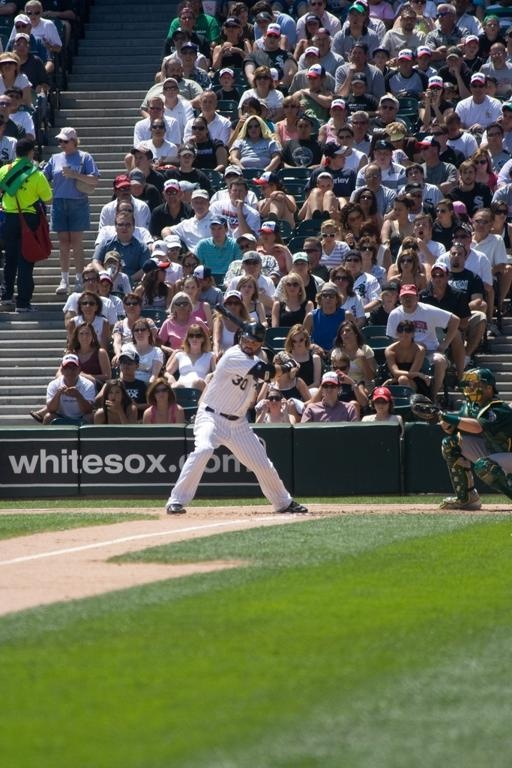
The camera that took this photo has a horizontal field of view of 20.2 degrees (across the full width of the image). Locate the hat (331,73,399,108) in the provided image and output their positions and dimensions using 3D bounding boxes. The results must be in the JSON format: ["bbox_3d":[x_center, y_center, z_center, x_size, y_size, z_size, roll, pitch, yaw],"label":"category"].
[{"bbox_3d":[1.368,-3.816,18.759,0.488,0.495,0.679,0,12,3],"label":"hat"}]

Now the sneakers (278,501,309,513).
[{"bbox_3d":[0.330,1.038,12.099,0.269,0.120,0.102,-3,-4,12],"label":"sneakers"}]

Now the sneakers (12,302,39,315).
[{"bbox_3d":[-2.637,-0.883,16.488,0.312,0.145,0.106,-3,7,-7],"label":"sneakers"}]

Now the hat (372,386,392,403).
[{"bbox_3d":[1.180,0.101,13.401,0.182,0.156,0.250,0,12,6],"label":"hat"}]

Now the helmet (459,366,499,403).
[{"bbox_3d":[1.870,0.004,11.814,0.299,0.290,0.233,1,-2,-10],"label":"helmet"}]

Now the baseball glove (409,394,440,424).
[{"bbox_3d":[1.371,0.205,11.514,0.227,0.264,0.238,0,12,6],"label":"baseball glove"}]

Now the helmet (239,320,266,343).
[{"bbox_3d":[-0.028,-0.423,11.845,0.200,0.196,0.290,-1,12,-1],"label":"helmet"}]

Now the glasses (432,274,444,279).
[{"bbox_3d":[1.875,-1.121,14.783,0.114,0.062,0.047,3,13,18],"label":"glasses"}]

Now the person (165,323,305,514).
[{"bbox_3d":[-0.166,0.380,13.006,1.225,1.868,0.917,12,-21,-36],"label":"person"}]

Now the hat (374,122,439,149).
[{"bbox_3d":[1.746,-3.088,17.780,0.452,0.320,0.817,8,15,35],"label":"hat"}]

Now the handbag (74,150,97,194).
[{"bbox_3d":[-2.001,-2.486,16.883,0.258,0.488,0.515,-2,12,-6],"label":"handbag"}]

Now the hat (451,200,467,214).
[{"bbox_3d":[2.361,-2.007,16.520,0.132,0.104,0.208,2,37,-7],"label":"hat"}]

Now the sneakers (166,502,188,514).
[{"bbox_3d":[-0.653,1.036,11.983,0.140,0.146,0.075,-1,1,24],"label":"sneakers"}]

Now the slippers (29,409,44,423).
[{"bbox_3d":[-2.234,0.328,14.617,0.139,0.120,0.055,-34,-10,3],"label":"slippers"}]

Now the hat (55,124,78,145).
[{"bbox_3d":[-2.223,-2.951,16.983,0.212,0.154,0.349,-2,12,-7],"label":"hat"}]

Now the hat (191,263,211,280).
[{"bbox_3d":[-0.561,-1.175,15.094,0.121,0.104,0.180,13,36,12],"label":"hat"}]

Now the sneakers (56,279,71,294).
[{"bbox_3d":[-2.271,-1.142,16.859,0.161,0.184,0.265,-2,12,-4],"label":"sneakers"}]

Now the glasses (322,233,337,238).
[{"bbox_3d":[0.799,-1.626,15.686,0.133,0.069,0.145,0,12,3],"label":"glasses"}]

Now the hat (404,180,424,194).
[{"bbox_3d":[1.827,-2.275,16.543,0.250,0.124,0.378,0,-2,2],"label":"hat"}]

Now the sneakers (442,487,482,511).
[{"bbox_3d":[1.747,0.963,12.142,0.402,0.283,0.144,3,6,8],"label":"sneakers"}]

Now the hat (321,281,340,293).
[{"bbox_3d":[0.764,-0.983,14.521,0.157,0.121,0.224,1,4,3],"label":"hat"}]

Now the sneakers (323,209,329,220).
[{"bbox_3d":[0.818,-1.972,16.731,0.084,0.090,0.173,-1,12,1],"label":"sneakers"}]

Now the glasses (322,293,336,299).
[{"bbox_3d":[0.734,-0.891,14.392,0.106,0.050,0.031,0,12,2],"label":"glasses"}]

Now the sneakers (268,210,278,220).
[{"bbox_3d":[0.205,-1.978,16.775,0.124,0.136,0.124,-2,5,-2],"label":"sneakers"}]

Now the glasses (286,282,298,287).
[{"bbox_3d":[0.379,-1.034,14.819,0.086,0.052,0.036,-1,12,1],"label":"glasses"}]

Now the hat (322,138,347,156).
[{"bbox_3d":[0.930,-2.808,17.036,0.223,0.127,0.162,-8,33,4],"label":"hat"}]

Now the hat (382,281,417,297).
[{"bbox_3d":[1.491,-0.991,14.669,0.285,0.152,0.187,-1,-3,22],"label":"hat"}]

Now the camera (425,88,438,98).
[{"bbox_3d":[2.327,-3.855,18.964,0.172,0.097,0.070,-8,14,-30],"label":"camera"}]

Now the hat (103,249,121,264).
[{"bbox_3d":[-1.560,-1.385,15.686,0.182,0.156,0.329,-2,12,-6],"label":"hat"}]

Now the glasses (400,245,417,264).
[{"bbox_3d":[1.604,-1.365,14.994,0.107,0.144,0.133,-1,-1,1],"label":"glasses"}]

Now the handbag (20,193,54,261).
[{"bbox_3d":[-2.479,-1.722,16.195,0.321,0.674,0.587,6,14,30],"label":"handbag"}]

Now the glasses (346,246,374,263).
[{"bbox_3d":[1.170,-1.383,15.338,0.191,0.157,0.260,7,-4,-10],"label":"glasses"}]

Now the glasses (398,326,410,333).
[{"bbox_3d":[1.469,-0.546,14.083,0.081,0.086,0.028,0,-8,6],"label":"glasses"}]
